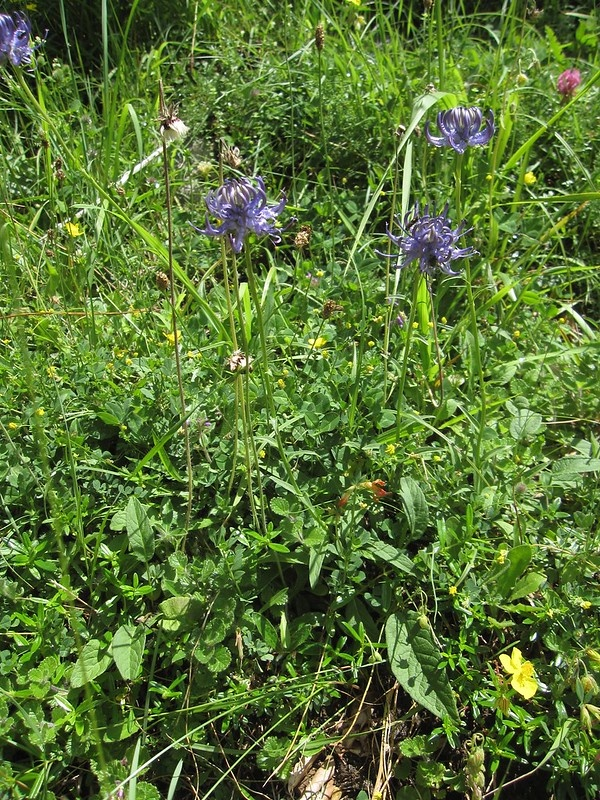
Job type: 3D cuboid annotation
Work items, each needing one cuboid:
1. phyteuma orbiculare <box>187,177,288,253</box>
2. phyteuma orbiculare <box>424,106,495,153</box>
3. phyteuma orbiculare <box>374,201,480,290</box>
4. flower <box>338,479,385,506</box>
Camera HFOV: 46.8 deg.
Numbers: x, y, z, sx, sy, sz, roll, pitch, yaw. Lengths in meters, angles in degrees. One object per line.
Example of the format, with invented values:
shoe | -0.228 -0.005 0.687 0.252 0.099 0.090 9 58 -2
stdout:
phyteuma orbiculare | -0.119 -0.352 1.359 0.169 0.109 0.166 -20 67 -11
phyteuma orbiculare | 0.415 -0.687 1.835 0.159 0.107 0.159 24 59 33
phyteuma orbiculare | 0.290 -0.342 1.675 0.225 0.104 0.224 1 19 17
flower | 0.152 0.230 1.732 0.131 0.042 0.036 -23 81 -19
